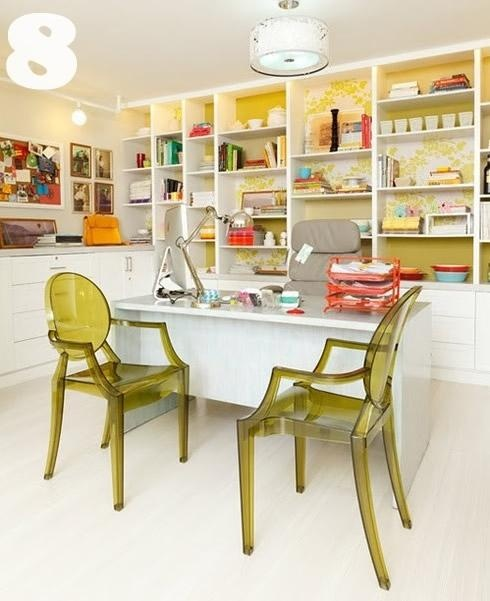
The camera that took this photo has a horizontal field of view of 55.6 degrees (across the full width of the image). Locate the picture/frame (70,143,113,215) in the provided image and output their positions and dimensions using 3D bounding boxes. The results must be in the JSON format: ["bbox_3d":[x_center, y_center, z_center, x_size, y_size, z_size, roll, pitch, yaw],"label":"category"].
[{"bbox_3d":[-1.644,-1.304,5.030,0.091,0.736,0.608,2,5,22],"label":"picture/frame"}]

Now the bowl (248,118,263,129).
[{"bbox_3d":[0.103,-1.730,4.553,0.147,0.096,0.145,0,9,0],"label":"bowl"}]

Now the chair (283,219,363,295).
[{"bbox_3d":[0.642,-0.155,3.788,0.565,0.810,0.711,-1,54,6],"label":"chair"}]

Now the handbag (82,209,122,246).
[{"bbox_3d":[-1.538,-0.767,5.004,0.392,0.354,0.312,-2,5,-21],"label":"handbag"}]

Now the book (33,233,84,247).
[{"bbox_3d":[-1.660,-0.537,4.145,0.390,0.110,0.181,-2,5,-25],"label":"book"}]

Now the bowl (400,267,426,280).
[{"bbox_3d":[1.395,-0.220,3.881,0.139,0.102,0.192,4,6,43],"label":"bowl"}]

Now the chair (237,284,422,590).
[{"bbox_3d":[0.311,0.341,2.004,0.773,1.382,0.779,3,4,23],"label":"chair"}]

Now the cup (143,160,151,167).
[{"bbox_3d":[-1.136,-1.591,5.389,0.074,0.077,0.096,0,0,1],"label":"cup"}]

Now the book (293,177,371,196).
[{"bbox_3d":[0.811,-1.048,4.286,0.710,0.190,0.320,2,5,22],"label":"book"}]

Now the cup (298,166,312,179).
[{"bbox_3d":[0.573,-1.189,4.347,0.121,0.100,0.130,-1,8,0],"label":"cup"}]

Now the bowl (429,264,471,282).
[{"bbox_3d":[1.639,-0.214,3.698,0.249,0.135,0.335,2,5,22],"label":"bowl"}]

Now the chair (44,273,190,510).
[{"bbox_3d":[-0.546,0.334,2.015,0.576,0.860,0.576,-6,10,-43],"label":"chair"}]

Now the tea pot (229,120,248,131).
[{"bbox_3d":[-0.060,-1.736,4.666,0.167,0.086,0.170,-1,24,0],"label":"tea pot"}]

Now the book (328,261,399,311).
[{"bbox_3d":[0.520,-0.080,2.042,0.300,0.261,0.221,5,10,30],"label":"book"}]
